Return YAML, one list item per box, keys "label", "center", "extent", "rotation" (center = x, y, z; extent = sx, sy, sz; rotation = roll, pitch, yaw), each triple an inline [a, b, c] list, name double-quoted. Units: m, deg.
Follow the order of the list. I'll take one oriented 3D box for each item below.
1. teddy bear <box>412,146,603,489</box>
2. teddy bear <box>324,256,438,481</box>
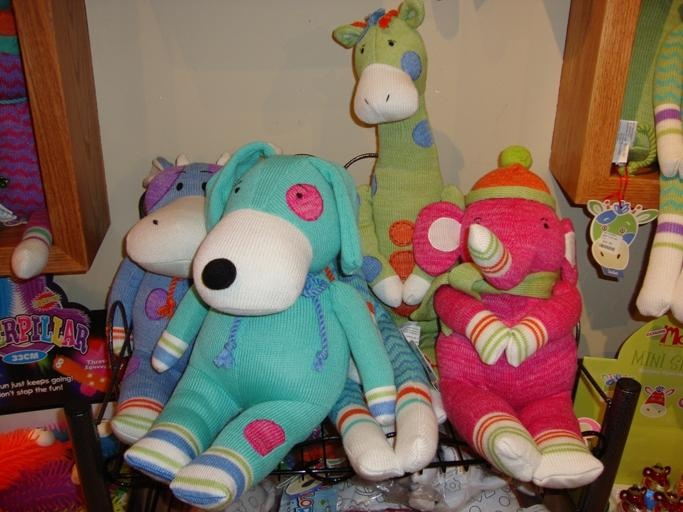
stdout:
- label: "teddy bear"
  center: [0.216, 0.073, 1.008]
  extent: [0.266, 0.419, 0.542]
  rotation: [-3, 37, 3]
- label: "teddy bear"
  center: [0.058, 0.160, 0.945]
  extent: [0.153, 0.089, 0.375]
  rotation: [-3, 63, -15]
